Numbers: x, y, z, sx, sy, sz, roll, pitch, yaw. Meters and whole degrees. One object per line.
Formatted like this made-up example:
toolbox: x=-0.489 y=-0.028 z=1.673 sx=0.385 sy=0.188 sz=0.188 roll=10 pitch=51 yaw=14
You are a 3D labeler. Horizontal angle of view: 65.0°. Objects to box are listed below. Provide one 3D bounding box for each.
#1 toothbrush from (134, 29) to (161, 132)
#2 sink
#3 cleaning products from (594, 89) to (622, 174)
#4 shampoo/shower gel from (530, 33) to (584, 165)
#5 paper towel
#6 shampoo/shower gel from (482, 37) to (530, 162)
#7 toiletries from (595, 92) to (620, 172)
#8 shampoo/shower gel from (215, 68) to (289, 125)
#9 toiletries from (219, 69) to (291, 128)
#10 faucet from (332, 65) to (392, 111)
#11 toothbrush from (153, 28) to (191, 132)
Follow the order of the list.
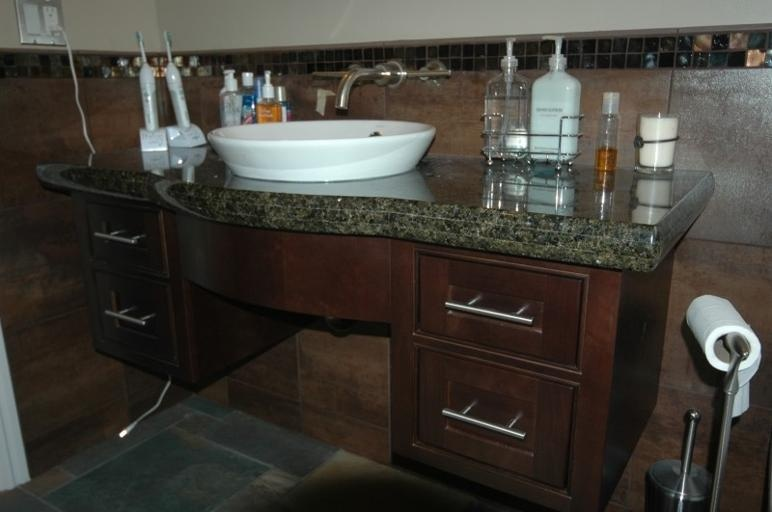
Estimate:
toothbrush: x=-0.818 y=-0.593 z=2.082 sx=0.049 sy=0.337 sz=0.049 roll=-4 pitch=9 yaw=-4
sink: x=-0.178 y=-0.311 z=1.751 sx=0.622 sy=0.122 sz=0.441 roll=-8 pitch=22 yaw=-16
cleaning products: x=0.621 y=-0.343 z=1.683 sx=0.066 sy=0.210 sz=0.065 roll=7 pitch=21 yaw=25
shampoo/shower gel: x=0.476 y=-0.440 z=1.693 sx=0.141 sy=0.338 sz=0.096 roll=7 pitch=13 yaw=28
paper towel: x=0.889 y=0.257 z=1.577 sx=0.164 sy=0.270 sz=0.278 roll=-20 pitch=9 yaw=20
shampoo/shower gel: x=0.351 y=-0.449 z=1.766 sx=0.139 sy=0.343 sz=0.186 roll=1 pitch=22 yaw=9
toiletries: x=0.617 y=-0.343 z=1.672 sx=0.057 sy=0.204 sz=0.145 roll=6 pitch=23 yaw=20
shampoo/shower gel: x=-0.451 y=-0.545 z=2.083 sx=0.261 sy=0.225 sz=0.089 roll=-4 pitch=17 yaw=-15
toiletries: x=-0.427 y=-0.538 z=2.108 sx=0.208 sy=0.228 sz=0.193 roll=12 pitch=18 yaw=32
faucet: x=-0.115 y=-0.505 z=1.901 sx=0.190 sy=0.172 sz=0.196 roll=12 pitch=20 yaw=38
toothbrush: x=-0.729 y=-0.597 z=2.091 sx=0.051 sy=0.336 sz=0.053 roll=-6 pitch=20 yaw=-3
